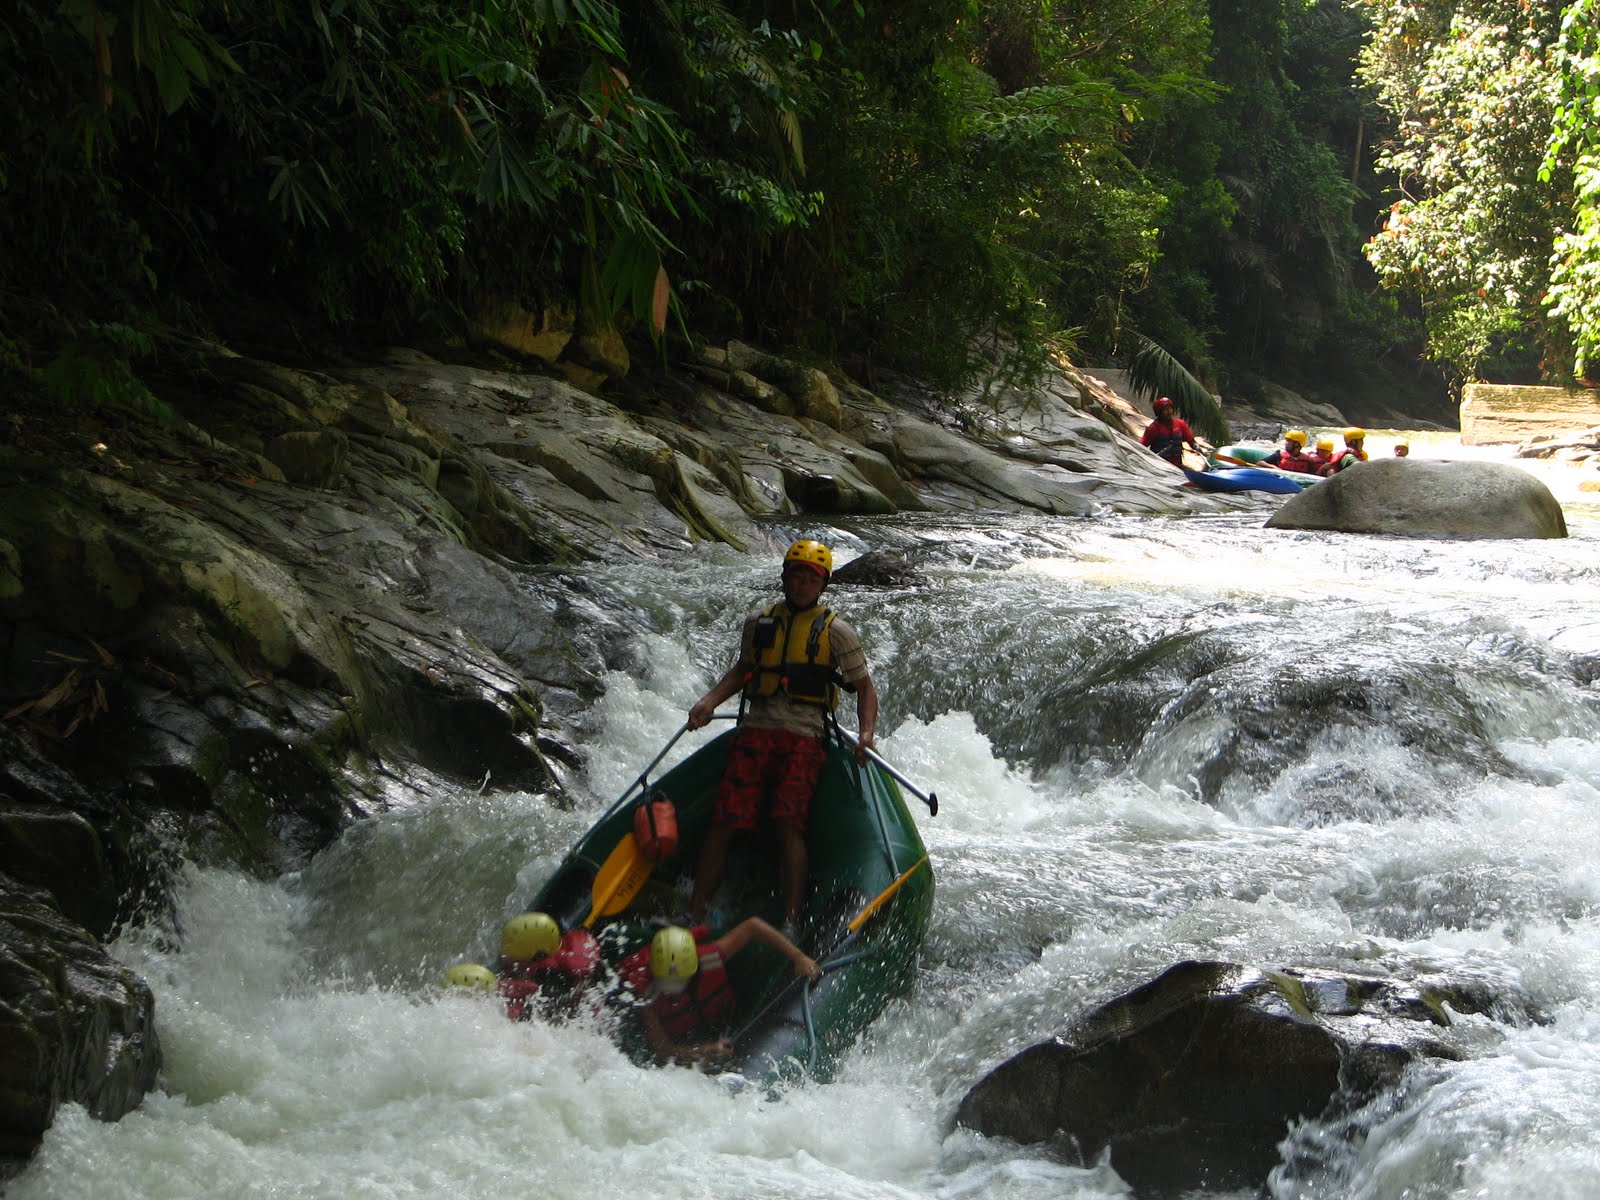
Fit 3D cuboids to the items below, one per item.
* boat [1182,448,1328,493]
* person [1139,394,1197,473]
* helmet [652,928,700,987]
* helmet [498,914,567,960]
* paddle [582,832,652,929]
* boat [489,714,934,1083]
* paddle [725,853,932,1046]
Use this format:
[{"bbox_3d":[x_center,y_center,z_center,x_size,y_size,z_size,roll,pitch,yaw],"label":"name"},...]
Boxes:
[{"bbox_3d":[6.993,-1.857,22.275,2.562,0.473,0.847,2,19,-20],"label":"boat"},{"bbox_3d":[6.444,-2.926,24.995,0.893,0.997,2.185,9,3,13],"label":"person"},{"bbox_3d":[-0.546,1.539,6.297,0.168,0.211,0.248,4,-8,-1],"label":"helmet"},{"bbox_3d":[-1.220,1.488,6.521,0.222,0.191,0.179,0,-23,12],"label":"helmet"},{"bbox_3d":[-0.883,1.328,6.933,0.074,0.174,0.469,-15,29,50],"label":"paddle"},{"bbox_3d":[-0.274,1.525,6.843,1.205,0.638,2.316,-8,-37,10],"label":"boat"},{"bbox_3d":[0.080,1.571,6.365,1.436,0.170,0.357,-42,16,-26],"label":"paddle"}]
